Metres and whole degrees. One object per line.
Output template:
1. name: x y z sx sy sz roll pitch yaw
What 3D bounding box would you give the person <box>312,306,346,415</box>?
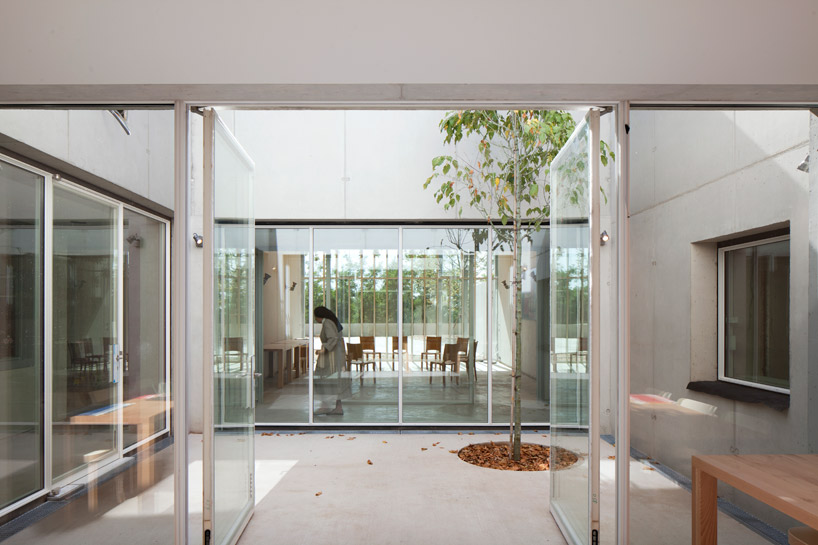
1. person: -1.076 1.183 8.362 0.427 1.406 0.292 -1 6 -7

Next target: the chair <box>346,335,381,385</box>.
1. chair: -0.629 1.136 8.385 0.456 0.778 0.515 1 -9 -10

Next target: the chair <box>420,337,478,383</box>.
1. chair: 0.644 1.180 8.408 0.478 0.906 0.612 -2 -13 22

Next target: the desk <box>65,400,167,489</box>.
1. desk: -3.083 1.621 6.789 0.172 0.582 1.481 1 5 10

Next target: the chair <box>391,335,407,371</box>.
1. chair: -0.135 1.085 8.426 0.223 0.451 0.112 0 6 -2
